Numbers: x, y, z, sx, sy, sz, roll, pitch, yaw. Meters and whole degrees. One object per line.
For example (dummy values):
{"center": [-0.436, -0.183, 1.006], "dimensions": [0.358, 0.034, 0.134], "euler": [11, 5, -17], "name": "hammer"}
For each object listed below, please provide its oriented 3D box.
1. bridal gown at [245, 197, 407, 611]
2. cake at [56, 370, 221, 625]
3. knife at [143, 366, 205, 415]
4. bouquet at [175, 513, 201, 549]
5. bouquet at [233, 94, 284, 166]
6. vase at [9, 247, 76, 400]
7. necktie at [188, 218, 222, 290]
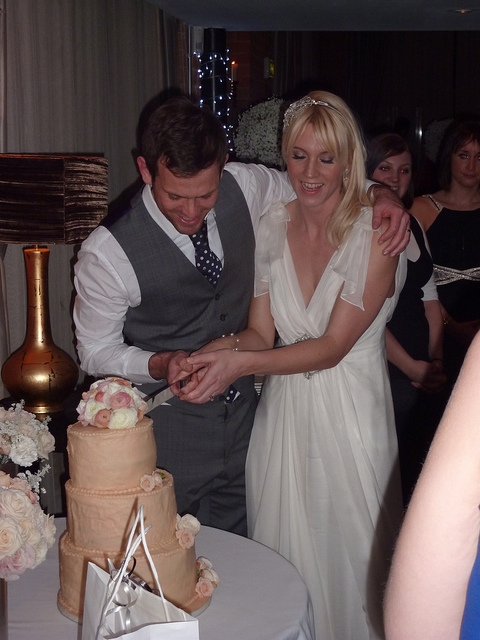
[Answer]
{"center": [0.298, 0.487, 2.012], "dimensions": [0.535, 1.814, 0.457], "euler": [5, 17, 29], "name": "bridal gown"}
{"center": [-0.247, 0.366, 1.119], "dimensions": [0.282, 0.388, 0.270], "euler": [12, 17, 42], "name": "cake"}
{"center": [-0.209, 0.215, 1.722], "dimensions": [0.308, 0.044, 0.014], "euler": [-35, 26, -15], "name": "knife"}
{"center": [-0.108, 0.428, 1.116], "dimensions": [0.029, 0.063, 0.050], "euler": [-4, -9, 35], "name": "bouquet"}
{"center": [0.153, -1.203, 3.436], "dimensions": [0.232, 0.416, 0.519], "euler": [-4, 17, -26], "name": "bouquet"}
{"center": [-0.826, 0.028, 2.258], "dimensions": [0.248, 0.632, 0.209], "euler": [7, 16, 10], "name": "vase"}
{"center": [-0.129, -0.234, 1.932], "dimensions": [0.114, 0.234, 0.121], "euler": [-6, 18, -33], "name": "necktie"}
